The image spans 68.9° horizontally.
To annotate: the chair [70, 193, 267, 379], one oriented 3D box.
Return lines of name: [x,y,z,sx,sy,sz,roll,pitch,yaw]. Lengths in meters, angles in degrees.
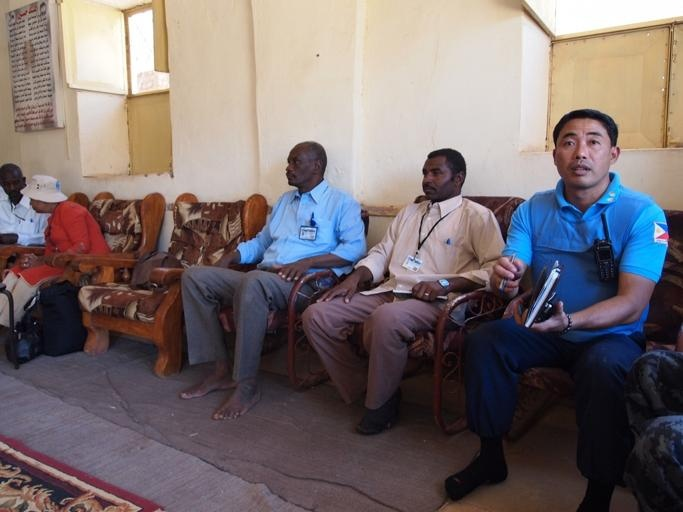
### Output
chair: [-1.331,0.093,3.990,1.038,1.393,1.435,4,7,30]

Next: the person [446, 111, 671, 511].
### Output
person: [0.927,0.202,2.096,0.687,1.608,0.738,7,14,32]

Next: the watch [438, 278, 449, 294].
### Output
watch: [0.538,0.157,2.613,0.059,0.066,0.059,0,16,-22]

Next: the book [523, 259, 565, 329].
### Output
book: [0.804,0.160,1.894,0.058,0.251,0.153,25,12,14]

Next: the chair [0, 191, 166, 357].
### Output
chair: [-2.079,-0.151,4.140,0.858,1.215,1.001,1,-3,26]

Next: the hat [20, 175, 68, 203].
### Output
hat: [-2.532,-0.568,4.149,0.308,0.124,0.267,19,17,14]

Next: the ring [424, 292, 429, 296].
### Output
ring: [0.442,0.194,2.567,0.024,0.020,0.005,8,15,34]

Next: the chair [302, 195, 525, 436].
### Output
chair: [0.351,0.183,3.047,1.266,1.247,0.955,-5,7,-42]

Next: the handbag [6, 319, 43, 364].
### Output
handbag: [-2.227,0.605,3.504,0.204,0.309,0.314,-1,-2,12]

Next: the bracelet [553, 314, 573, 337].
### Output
bracelet: [0.866,0.271,1.950,0.027,0.071,0.060,13,-22,14]
